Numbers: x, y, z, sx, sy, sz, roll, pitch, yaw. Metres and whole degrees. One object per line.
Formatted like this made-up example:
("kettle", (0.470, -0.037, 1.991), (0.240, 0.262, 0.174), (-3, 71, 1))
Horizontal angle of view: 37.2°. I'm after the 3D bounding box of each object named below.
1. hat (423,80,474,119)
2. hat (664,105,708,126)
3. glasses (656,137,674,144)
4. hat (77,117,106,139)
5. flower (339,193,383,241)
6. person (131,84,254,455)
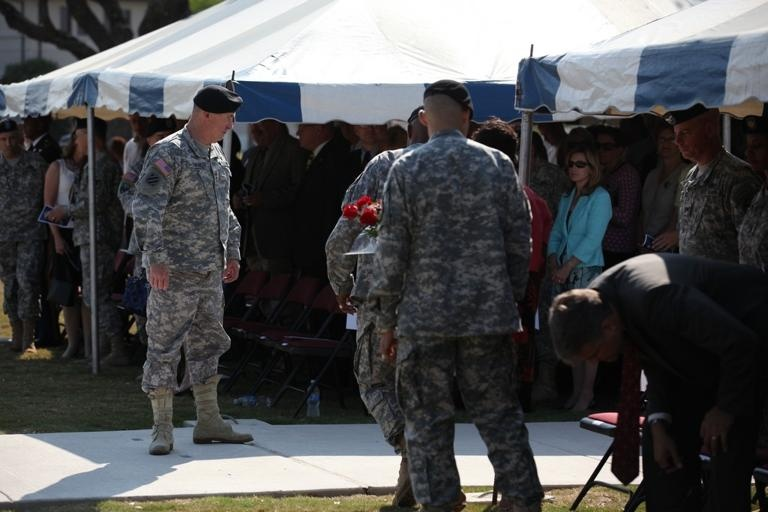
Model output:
("hat", (0.487, -1.071, 7.888), (0.300, 0.114, 0.220), (26, -13, -38))
("hat", (2.397, -1.080, 9.076), (0.307, 0.124, 0.227), (-14, 16, 26))
("glasses", (2.659, -1.091, 10.790), (0.107, 0.053, 0.147), (1, 0, 6))
("hat", (-3.114, -1.378, 12.261), (0.310, 0.244, 0.241), (-3, 0, 27))
("flower", (-0.138, -0.281, 7.992), (0.285, 0.273, 0.116), (-12, -14, 24))
("person", (-1.573, 0.097, 9.242), (0.915, 2.916, 0.487), (-3, 9, -25))
